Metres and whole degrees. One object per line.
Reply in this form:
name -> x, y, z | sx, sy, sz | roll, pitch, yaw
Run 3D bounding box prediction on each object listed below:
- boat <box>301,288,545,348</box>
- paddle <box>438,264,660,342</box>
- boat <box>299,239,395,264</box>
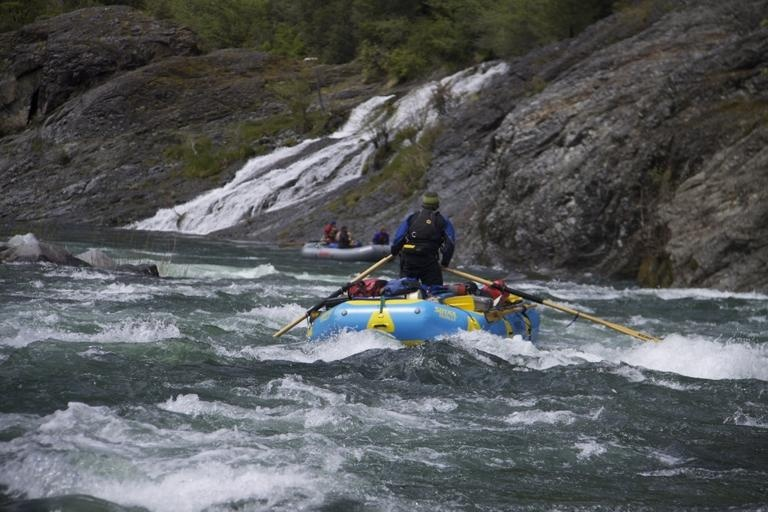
boat -> 1.541, 2.392, 40.609 | 8.232, 2.100, 1.609 | -2, 11, -7
paddle -> 6.419, 2.000, 41.984 | 8.601, 0.413, 0.595 | 17, 3, 3
boat -> -1.848, -0.141, 53.238 | 4.175, 0.766, 0.847 | 2, 11, 16
